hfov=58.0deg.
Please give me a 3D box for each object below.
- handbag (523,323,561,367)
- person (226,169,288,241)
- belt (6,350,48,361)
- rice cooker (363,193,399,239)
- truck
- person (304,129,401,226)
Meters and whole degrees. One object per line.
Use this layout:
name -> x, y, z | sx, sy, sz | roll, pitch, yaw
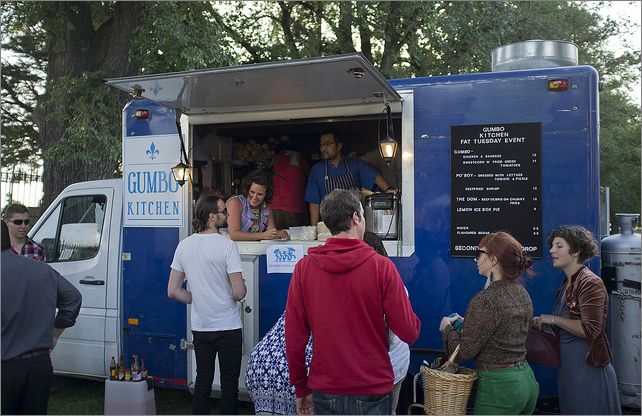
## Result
handbag -> 2.041, 1.280, 5.302 | 0.364, 0.455, 0.231 | 0, -1, -3
person -> -0.806, 0.027, 6.752 | 0.461, 1.134, 0.796 | -5, 0, -21
belt -> -2.639, 1.321, 5.167 | 0.393, 0.092, 0.053 | 3, -3, -34
rice cooker -> 0.693, 0.084, 6.360 | 0.270, 0.528, 0.283 | -1, -1, 2
truck -> -0.366, -0.226, 6.974 | 4.311, 4.658, 5.030 | 1, 0, -21
person -> 0.250, -0.434, 7.692 | 0.852, 1.455, 1.446 | -5, 1, 1
